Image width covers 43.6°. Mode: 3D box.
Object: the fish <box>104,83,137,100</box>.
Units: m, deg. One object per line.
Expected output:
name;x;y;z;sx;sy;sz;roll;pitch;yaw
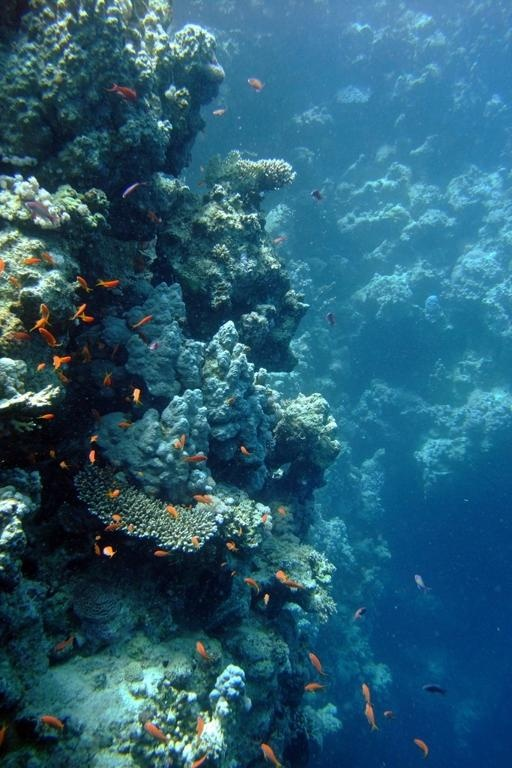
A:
fish;-1.937;-4.267;9.388;0.438;0.260;0.346;-18;36;-19
